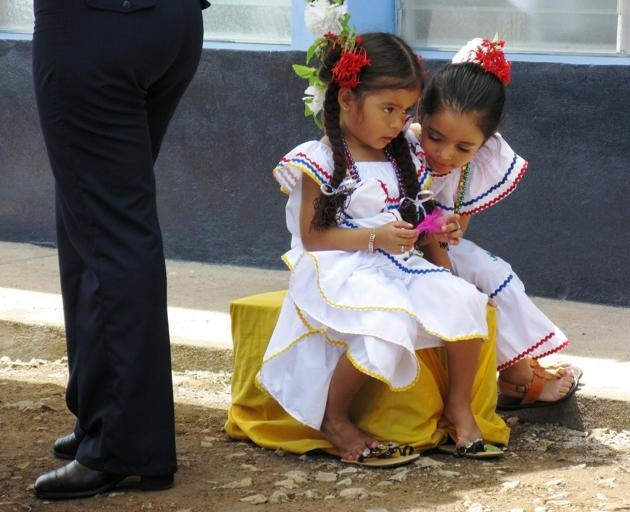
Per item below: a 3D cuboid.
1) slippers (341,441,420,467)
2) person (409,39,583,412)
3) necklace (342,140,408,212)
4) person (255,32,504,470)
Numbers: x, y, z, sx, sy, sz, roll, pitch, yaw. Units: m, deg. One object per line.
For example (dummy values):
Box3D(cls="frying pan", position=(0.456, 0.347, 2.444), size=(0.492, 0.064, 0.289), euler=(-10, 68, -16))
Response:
Box3D(cls="slippers", position=(0.264, 0.735, 3.766), size=(0.291, 0.073, 0.090), euler=(-2, 15, -11))
Box3D(cls="person", position=(0.702, -0.121, 4.207), size=(0.804, 1.453, 0.648), euler=(-2, 25, -16))
Box3D(cls="necklace", position=(0.229, -0.299, 3.912), size=(0.183, 0.264, 0.069), euler=(-14, -11, -17))
Box3D(cls="person", position=(0.205, -0.026, 4.109), size=(1.002, 1.559, 0.728), euler=(-2, 5, -30))
